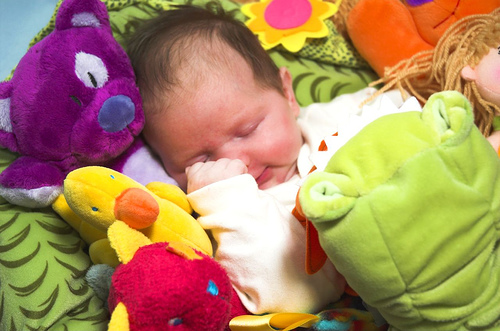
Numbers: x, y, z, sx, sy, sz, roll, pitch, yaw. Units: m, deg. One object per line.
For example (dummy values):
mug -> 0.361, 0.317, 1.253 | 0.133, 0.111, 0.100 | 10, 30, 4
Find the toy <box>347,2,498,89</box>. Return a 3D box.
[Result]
toy -> 0.519, -0.434, 1.656 | 0.295, 0.112, 0.302 | -31, 64, 10

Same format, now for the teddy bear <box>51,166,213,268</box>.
teddy bear -> -0.280, 0.138, 1.231 | 0.119, 0.325, 0.248 | -36, 30, 54

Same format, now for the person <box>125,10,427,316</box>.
person -> 0.042, 0.053, 1.471 | 0.605, 0.959, 0.417 | -32, 23, 27

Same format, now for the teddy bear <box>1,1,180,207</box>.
teddy bear -> -0.449, -0.133, 1.326 | 0.420, 0.525, 0.157 | -23, 28, -29
